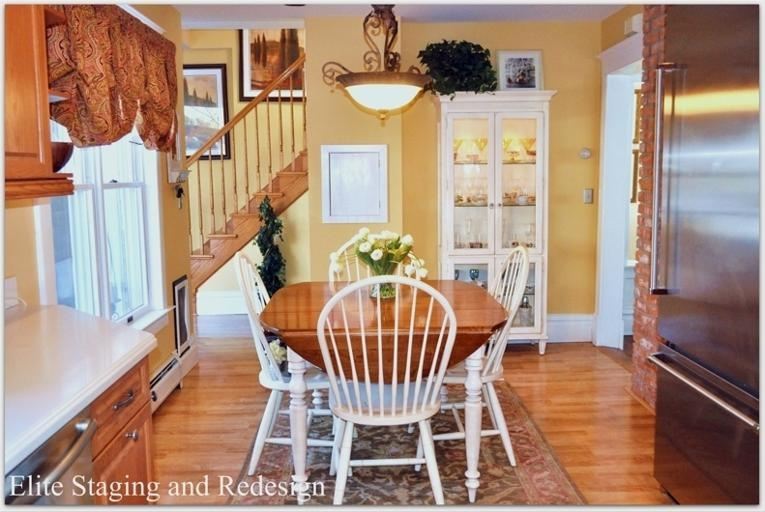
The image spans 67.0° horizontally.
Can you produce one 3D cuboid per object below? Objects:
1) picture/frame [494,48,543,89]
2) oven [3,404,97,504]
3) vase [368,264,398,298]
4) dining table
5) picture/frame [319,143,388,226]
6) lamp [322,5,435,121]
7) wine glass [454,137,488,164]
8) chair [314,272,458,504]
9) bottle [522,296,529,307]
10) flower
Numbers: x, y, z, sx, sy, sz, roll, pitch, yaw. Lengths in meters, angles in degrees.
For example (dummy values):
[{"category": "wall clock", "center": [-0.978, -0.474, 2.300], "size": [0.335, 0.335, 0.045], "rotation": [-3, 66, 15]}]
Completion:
[{"category": "picture/frame", "center": [1.234, -1.699, 5.296], "size": [0.497, 0.383, 0.046], "rotation": [-1, -8, -4]}, {"category": "oven", "center": [-1.157, 0.750, 2.157], "size": [0.316, 0.410, 0.262], "rotation": [0, 3, 4]}, {"category": "vase", "center": [-0.003, 0.167, 3.643], "size": [0.207, 0.181, 0.197], "rotation": [2, 10, 5]}, {"category": "dining table", "center": [0.005, 0.603, 3.620], "size": [1.434, 0.974, 1.227], "rotation": [-1, 7, 0]}, {"category": "picture/frame", "center": [-0.262, -0.672, 5.164], "size": [0.771, 0.811, 0.068], "rotation": [0, 3, 0]}, {"category": "lamp", "center": [-0.039, -1.203, 3.693], "size": [0.540, 0.717, 1.425], "rotation": [0, 9, -5]}, {"category": "wine glass", "center": [0.781, -0.937, 5.149], "size": [0.398, 0.253, 0.204], "rotation": [0, -1, 2]}, {"category": "chair", "center": [0.026, 0.705, 3.234], "size": [0.721, 1.311, 0.972], "rotation": [2, 10, 3]}, {"category": "bottle", "center": [1.307, 0.432, 5.303], "size": [0.042, 0.119, 0.021], "rotation": [4, 6, 17]}, {"category": "flower", "center": [-0.041, 0.058, 3.751], "size": [0.422, 0.402, 0.421], "rotation": [0, -3, -5]}]
